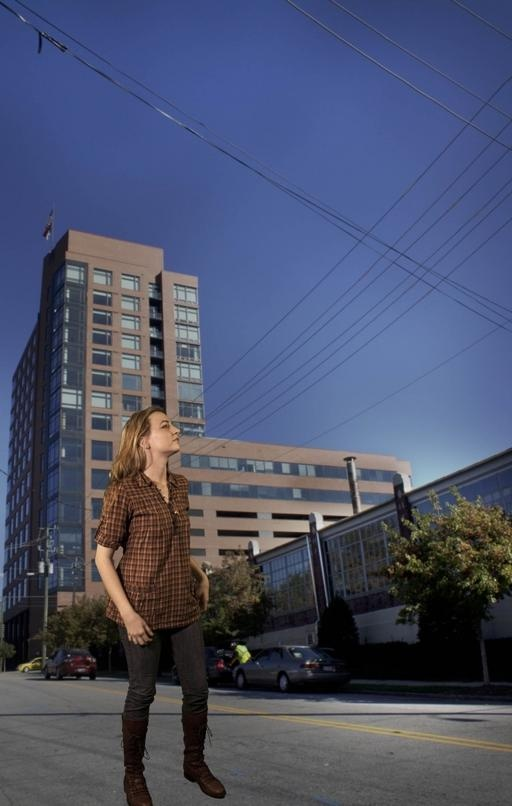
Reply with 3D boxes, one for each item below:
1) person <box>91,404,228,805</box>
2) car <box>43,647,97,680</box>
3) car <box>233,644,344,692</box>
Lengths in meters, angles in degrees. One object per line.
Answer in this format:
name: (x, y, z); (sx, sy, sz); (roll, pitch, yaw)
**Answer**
person: (-0.464, 0.871, 2.805); (0.479, 1.895, 0.769); (-7, -17, -5)
car: (-8.090, 11.408, 26.720); (1.281, 1.312, 3.584); (2, -20, -30)
car: (0.800, 7.256, 17.150); (1.398, 0.917, 3.054); (18, -26, -33)
